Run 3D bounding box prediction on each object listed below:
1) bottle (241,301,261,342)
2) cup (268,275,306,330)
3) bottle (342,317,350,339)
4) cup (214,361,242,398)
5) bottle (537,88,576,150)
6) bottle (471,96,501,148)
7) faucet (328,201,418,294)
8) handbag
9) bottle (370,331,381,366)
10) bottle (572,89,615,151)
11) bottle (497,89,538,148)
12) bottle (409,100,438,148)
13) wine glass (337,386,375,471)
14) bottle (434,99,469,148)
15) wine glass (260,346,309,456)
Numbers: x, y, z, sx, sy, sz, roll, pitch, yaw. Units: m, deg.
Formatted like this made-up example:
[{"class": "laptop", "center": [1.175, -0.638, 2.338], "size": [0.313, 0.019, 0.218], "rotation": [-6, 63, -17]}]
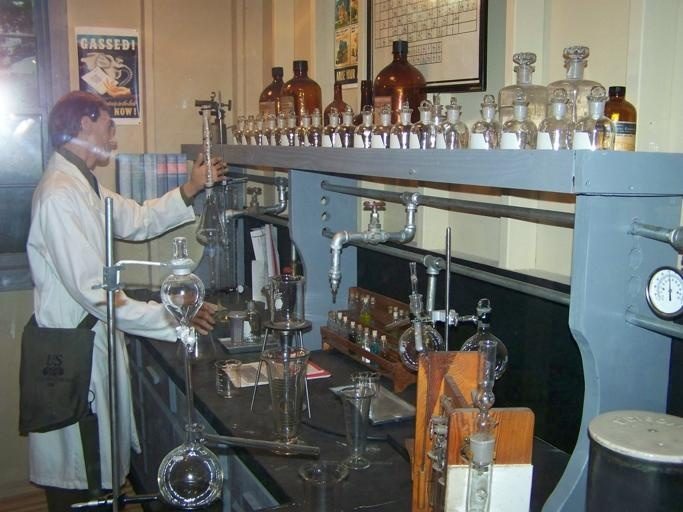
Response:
[{"class": "bottle", "center": [-0.409, 0.287, 2.754], "size": [0.076, 0.148, 0.261], "rotation": [-1, 13, -7]}, {"class": "cup", "center": [-0.179, 0.161, 2.131], "size": [0.154, 0.182, 0.154], "rotation": [0, 1, 0]}, {"class": "bottle", "center": [0.018, 0.291, 2.456], "size": [0.028, 0.079, 0.074], "rotation": [-2, 13, -13]}, {"class": "cup", "center": [-0.420, 0.452, 2.225], "size": [0.104, 0.158, 0.118], "rotation": [0, 2, 21]}, {"class": "bottle", "center": [0.509, -0.330, 1.406], "size": [0.077, 0.141, 0.368], "rotation": [5, 14, 19]}, {"class": "bottle", "center": [0.371, -0.345, 1.522], "size": [0.069, 0.129, 0.139], "rotation": [4, 13, 13]}, {"class": "faucet", "center": [0.088, -0.067, 2.030], "size": [0.294, 0.321, 0.284], "rotation": [-2, 13, -11]}, {"class": "handbag", "center": [-1.197, 0.524, 2.490], "size": [0.302, 0.465, 0.140], "rotation": [4, 13, 12]}, {"class": "bottle", "center": [0.130, 0.323, 2.244], "size": [0.034, 0.081, 0.100], "rotation": [0, 13, -2]}, {"class": "bottle", "center": [0.577, -0.318, 1.344], "size": [0.084, 0.142, 0.241], "rotation": [8, 15, 28]}, {"class": "bottle", "center": [0.434, -0.341, 1.460], "size": [0.088, 0.144, 0.298], "rotation": [4, 13, 14]}, {"class": "bottle", "center": [0.232, -0.378, 1.704], "size": [0.072, 0.132, 0.228], "rotation": [2, 13, 6]}, {"class": "wine glass", "center": [0.045, 0.491, 1.767], "size": [0.091, 0.223, 0.164], "rotation": [1, 13, 3]}, {"class": "bottle", "center": [0.313, -0.375, 1.662], "size": [0.093, 0.140, 0.175], "rotation": [3, 13, 8]}, {"class": "wine glass", "center": [-0.172, 0.428, 1.860], "size": [0.135, 0.293, 0.139], "rotation": [-1, 13, -6]}]
